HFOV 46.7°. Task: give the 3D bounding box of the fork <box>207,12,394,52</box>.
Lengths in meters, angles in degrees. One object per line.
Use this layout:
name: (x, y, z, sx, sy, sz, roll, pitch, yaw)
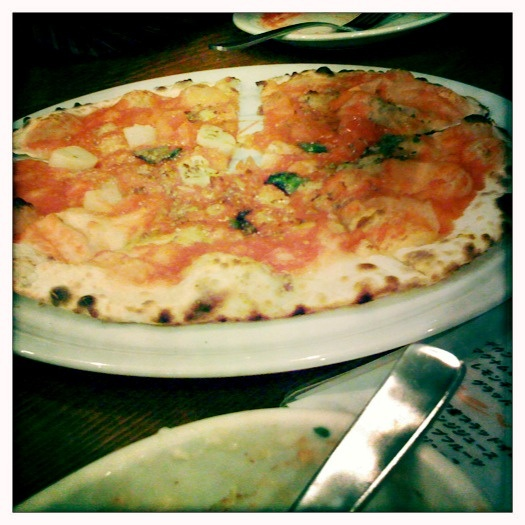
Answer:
fork: (0.099, -0.594, 1.565, 0.364, 0.037, 0.034, -14, 41, -12)
